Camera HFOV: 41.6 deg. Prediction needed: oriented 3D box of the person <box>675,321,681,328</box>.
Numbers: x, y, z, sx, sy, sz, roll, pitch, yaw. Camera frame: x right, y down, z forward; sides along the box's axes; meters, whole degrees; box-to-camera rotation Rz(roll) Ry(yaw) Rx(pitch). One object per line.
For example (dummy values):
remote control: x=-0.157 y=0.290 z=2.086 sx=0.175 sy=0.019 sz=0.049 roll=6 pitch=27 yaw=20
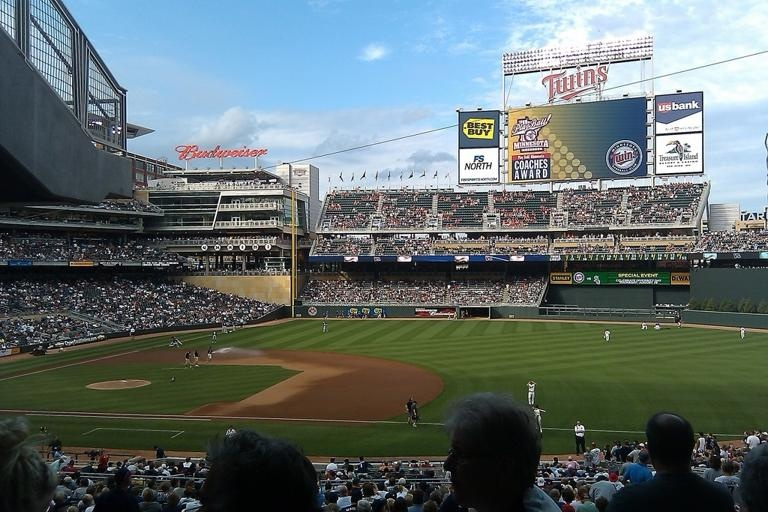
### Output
person: x=28.352 y=6.738 z=97.376 sx=0.460 sy=0.733 sz=0.559 roll=1 pitch=-3 yaw=45
